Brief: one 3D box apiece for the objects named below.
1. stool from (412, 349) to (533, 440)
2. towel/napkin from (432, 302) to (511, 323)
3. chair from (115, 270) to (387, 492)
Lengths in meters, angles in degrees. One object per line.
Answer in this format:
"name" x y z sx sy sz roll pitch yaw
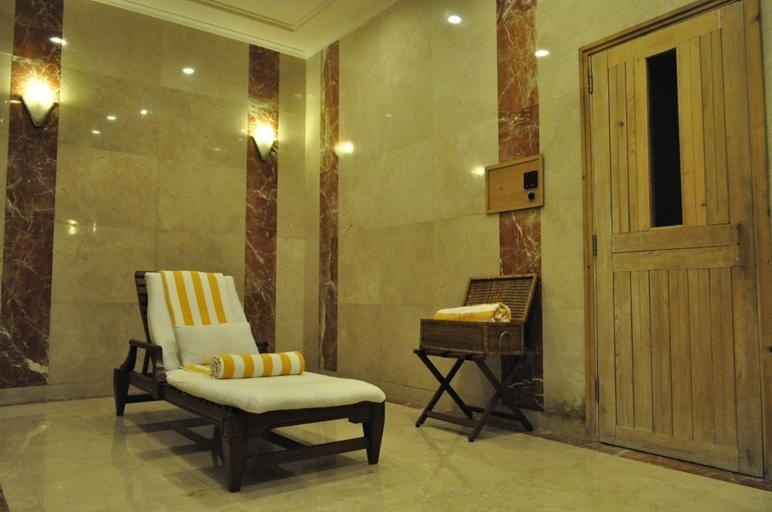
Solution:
"stool" 0.831 1.295 5.851 0.795 0.693 0.899 3 -7 -31
"towel/napkin" 0.766 0.515 5.796 0.248 0.218 0.798 -10 3 -44
"chair" -1.370 0.934 5.594 2.469 1.481 1.412 2 -2 45
